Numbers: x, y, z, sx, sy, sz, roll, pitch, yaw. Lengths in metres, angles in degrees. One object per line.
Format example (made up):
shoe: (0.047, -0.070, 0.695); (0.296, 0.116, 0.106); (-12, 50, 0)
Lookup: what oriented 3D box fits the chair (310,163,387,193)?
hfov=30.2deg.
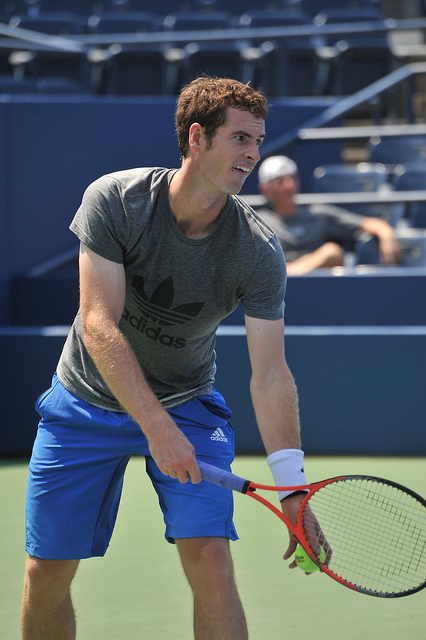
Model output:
chair: (1.118, -1.162, 6.465); (0.593, 0.232, 0.251); (3, 10, 11)

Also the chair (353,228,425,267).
chair: (1.187, -0.475, 5.253); (0.426, 0.376, 0.300); (2, 4, 28)

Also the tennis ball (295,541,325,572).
tennis ball: (0.253, 0.621, 2.088); (0.087, 0.079, 0.078); (7, 54, 13)

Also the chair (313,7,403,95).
chair: (1.488, -2.599, 7.309); (1.039, 0.906, 0.994); (1, 13, 4)
